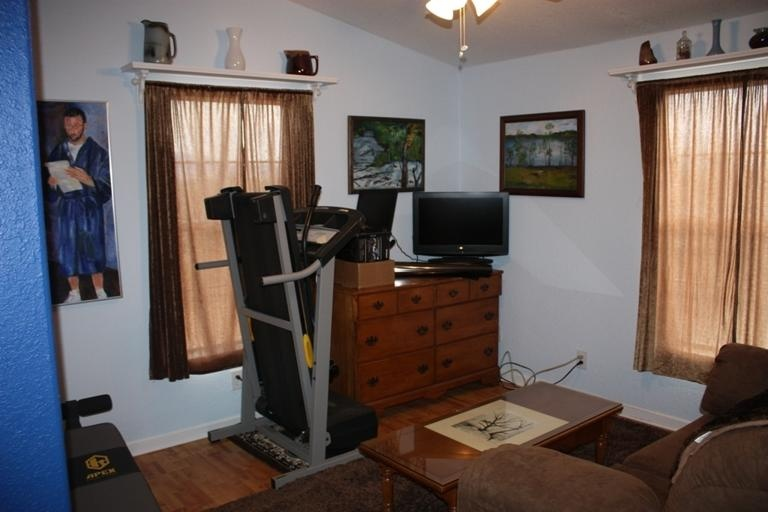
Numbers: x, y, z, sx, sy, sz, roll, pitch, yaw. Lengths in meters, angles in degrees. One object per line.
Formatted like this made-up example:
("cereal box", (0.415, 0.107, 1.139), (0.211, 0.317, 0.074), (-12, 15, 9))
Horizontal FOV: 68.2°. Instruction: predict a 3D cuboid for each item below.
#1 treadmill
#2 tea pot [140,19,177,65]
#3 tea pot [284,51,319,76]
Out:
("treadmill", (-0.603, 0.468, 3.943), (0.937, 1.792, 0.971), (-6, 10, -41))
("tea pot", (-1.553, -1.481, 3.924), (0.215, 0.308, 0.221), (-1, 12, 0))
("tea pot", (-0.645, -1.521, 4.473), (0.248, 0.206, 0.215), (-4, 12, -14))
